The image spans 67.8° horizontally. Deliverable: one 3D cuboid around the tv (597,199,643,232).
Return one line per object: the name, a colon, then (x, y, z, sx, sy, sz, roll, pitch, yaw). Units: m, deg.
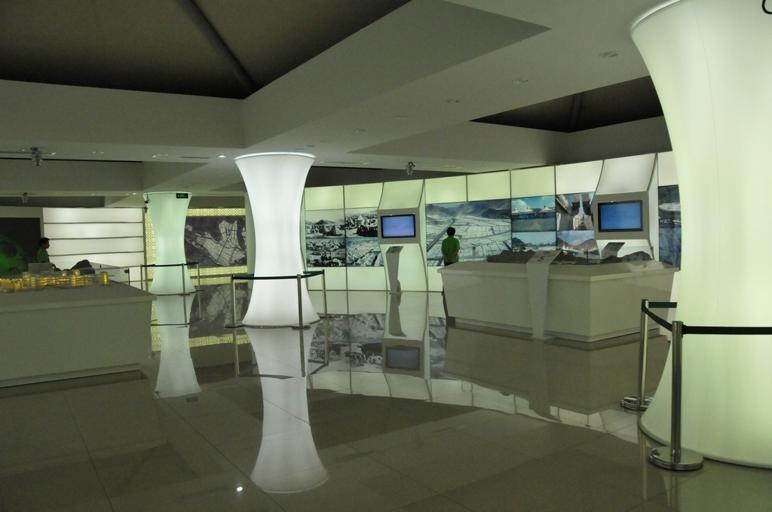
tv: (5.185, -0.884, 12.666, 0.075, 0.523, 0.760, -2, 2, -42)
